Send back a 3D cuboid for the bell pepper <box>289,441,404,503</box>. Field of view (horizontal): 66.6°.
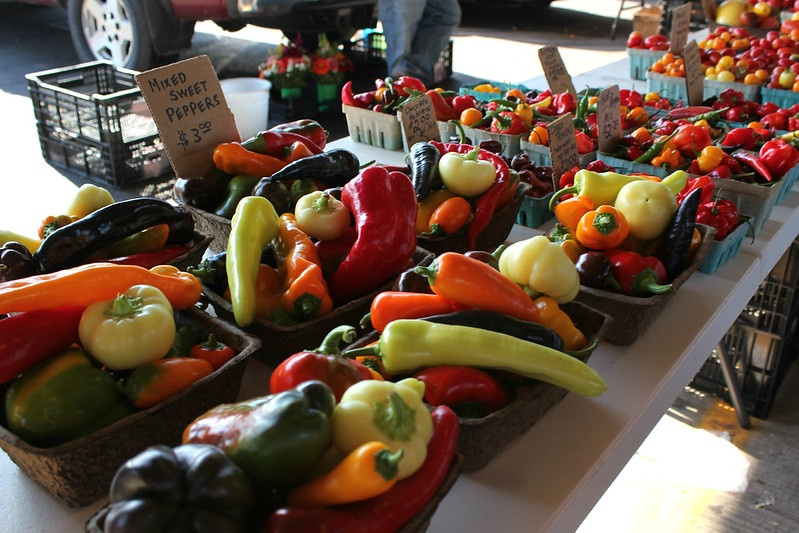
[{"bbox_3d":[-0.121,0.531,1.573,0.326,0.116,0.116,-19,30,14],"label":"bell pepper"}]

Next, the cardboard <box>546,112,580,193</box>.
[{"bbox_3d":[0.775,-0.532,2.908,0.018,0.426,0.385,1,31,33],"label":"cardboard"}]
